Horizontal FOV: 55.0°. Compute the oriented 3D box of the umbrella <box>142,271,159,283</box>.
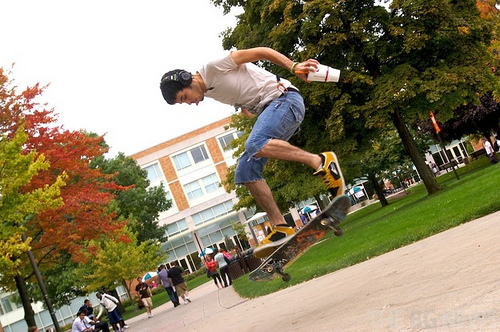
[{"bbox_3d":[-9.620,10.476,46.167,1.219,0.583,4.367,-24,-14,-14],"label":"umbrella"}]

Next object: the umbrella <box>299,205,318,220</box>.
[{"bbox_3d":[6.550,4.925,53.874,1.711,1.196,1.695,-6,-12,-3],"label":"umbrella"}]

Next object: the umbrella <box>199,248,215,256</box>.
[{"bbox_3d":[-4.184,8.457,48.048,1.455,0.569,1.426,-18,-10,-13],"label":"umbrella"}]

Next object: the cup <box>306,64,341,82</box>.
[{"bbox_3d":[1.341,-1.758,8.747,0.578,0.362,0.390,8,-37,0],"label":"cup"}]

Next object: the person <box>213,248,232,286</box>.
[{"bbox_3d":[-1.452,5.715,26.722,0.643,1.462,1.262,-24,-13,-9],"label":"person"}]
